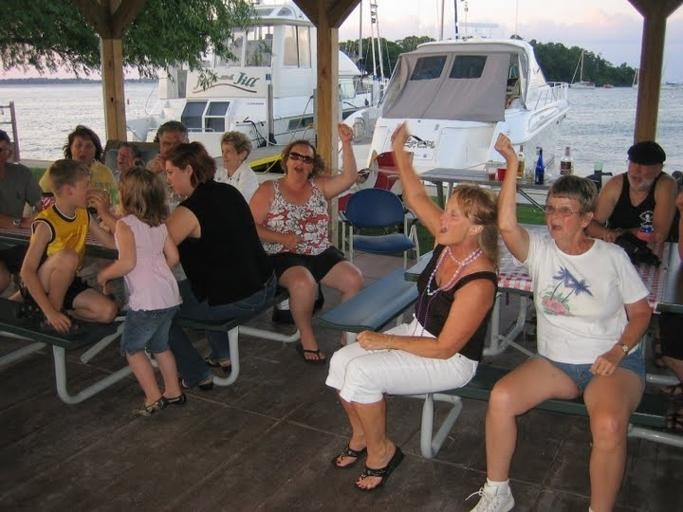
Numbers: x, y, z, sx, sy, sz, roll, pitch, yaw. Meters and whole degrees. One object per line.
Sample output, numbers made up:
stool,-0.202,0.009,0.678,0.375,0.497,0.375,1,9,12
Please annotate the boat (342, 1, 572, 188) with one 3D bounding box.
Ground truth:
boat,3.478,-3.888,14.768,3.501,3.040,7.744,7,14,29

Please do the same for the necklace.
necklace,0.622,0.218,3.245,0.265,0.474,0.378,1,30,-22

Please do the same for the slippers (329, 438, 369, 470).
slippers,0.045,1.250,3.561,0.227,0.061,0.107,-11,18,-37

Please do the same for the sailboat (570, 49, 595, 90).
sailboat,27.163,-20.829,63.382,2.391,3.890,1.094,-3,16,-9

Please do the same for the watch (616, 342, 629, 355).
watch,1.530,0.500,3.070,0.061,0.057,0.024,16,-35,-35

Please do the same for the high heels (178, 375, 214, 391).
high heels,-1.115,0.989,4.308,0.273,0.102,0.106,7,10,4

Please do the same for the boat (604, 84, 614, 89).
boat,30.371,-19.235,63.837,0.806,0.485,0.337,4,-6,11

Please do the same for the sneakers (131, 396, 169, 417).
sneakers,-1.364,1.087,4.025,0.221,0.084,0.107,-13,16,0

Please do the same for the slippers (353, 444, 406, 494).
slippers,0.245,1.297,3.417,0.357,0.096,0.143,-47,45,-8
